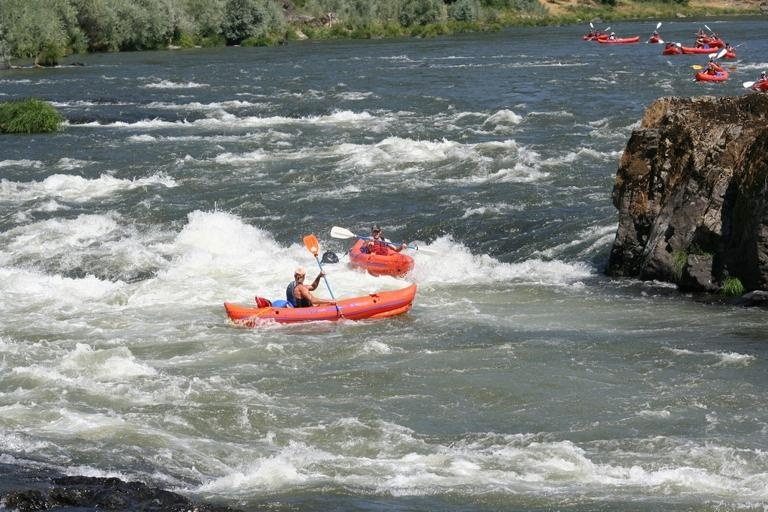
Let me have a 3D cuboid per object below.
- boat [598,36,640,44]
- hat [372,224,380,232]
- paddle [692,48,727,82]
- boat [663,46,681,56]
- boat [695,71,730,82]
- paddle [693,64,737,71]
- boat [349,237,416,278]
[{"bbox_3d":[13.970,-12.680,84.130,1.802,0.254,0.975,-3,4,-30],"label":"boat"},{"bbox_3d":[-0.263,-0.971,48.080,0.253,0.320,0.149,-5,59,1],"label":"hat"},{"bbox_3d":[14.941,-8.641,65.032,1.319,0.910,3.197,11,19,28],"label":"paddle"},{"bbox_3d":[15.299,-10.911,75.959,0.924,0.329,1.036,6,11,16],"label":"boat"},{"bbox_3d":[14.678,-8.069,64.274,1.371,0.499,1.203,0,9,8],"label":"boat"},{"bbox_3d":[15.762,-8.960,67.948,1.493,0.157,0.841,2,-4,-32],"label":"paddle"},{"bbox_3d":[-0.170,0.051,47.062,2.079,1.072,0.749,5,14,33],"label":"boat"}]
